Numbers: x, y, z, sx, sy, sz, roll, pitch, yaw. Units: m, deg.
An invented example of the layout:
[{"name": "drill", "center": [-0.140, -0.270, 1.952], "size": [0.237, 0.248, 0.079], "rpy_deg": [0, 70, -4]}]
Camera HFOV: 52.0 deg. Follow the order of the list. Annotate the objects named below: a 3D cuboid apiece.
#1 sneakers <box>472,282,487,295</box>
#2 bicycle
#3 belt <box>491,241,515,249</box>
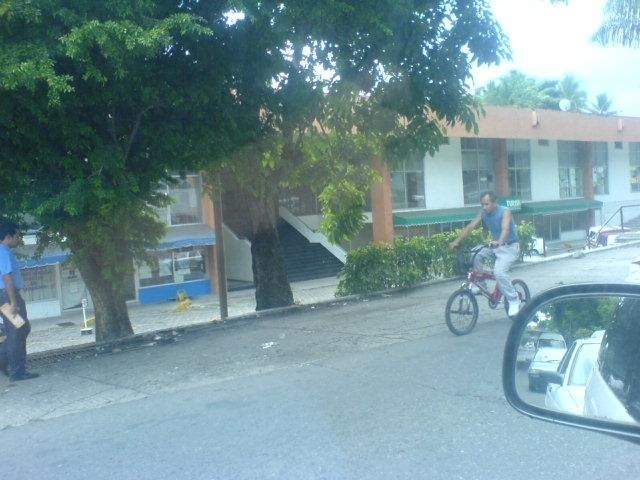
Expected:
[{"name": "sneakers", "center": [2.602, 0.781, 10.658], "size": [0.188, 0.186, 0.158], "rpy_deg": [-4, 6, 17]}, {"name": "bicycle", "center": [2.794, 0.187, 10.846], "size": [0.994, 1.972, 1.076], "rpy_deg": [5, 9, 43]}, {"name": "belt", "center": [2.968, 0.058, 10.595], "size": [0.520, 0.121, 0.141], "rpy_deg": [-7, 7, -42]}]
